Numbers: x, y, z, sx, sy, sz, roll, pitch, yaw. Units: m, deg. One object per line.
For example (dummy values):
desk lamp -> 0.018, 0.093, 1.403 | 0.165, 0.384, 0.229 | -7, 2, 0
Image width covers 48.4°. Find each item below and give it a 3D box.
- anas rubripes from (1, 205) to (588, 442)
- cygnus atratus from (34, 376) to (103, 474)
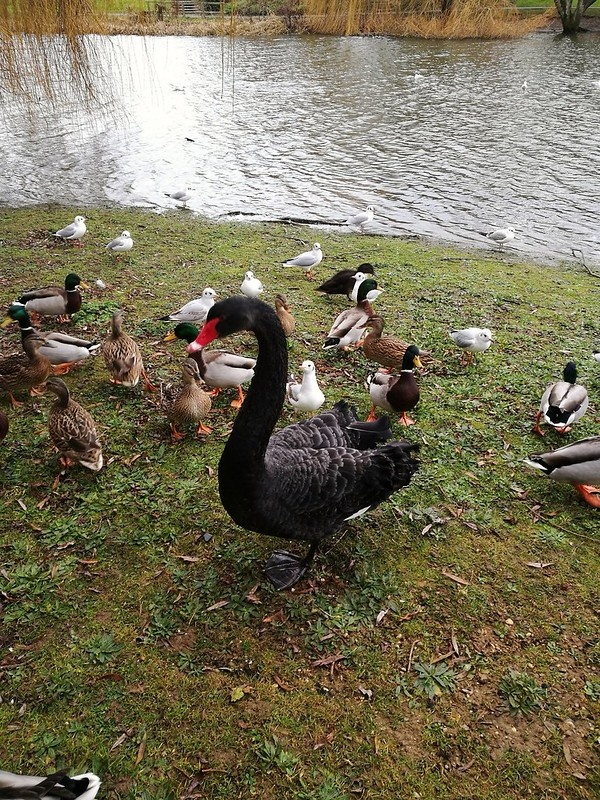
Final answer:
anas rubripes -> -0.101, -0.956, 7.971 | 5.524, 2.268, 4.842 | -3, 20, -3
cygnus atratus -> -1.842, 0.210, 5.480 | 0.583, 0.734, 0.735 | -5, 22, -13
